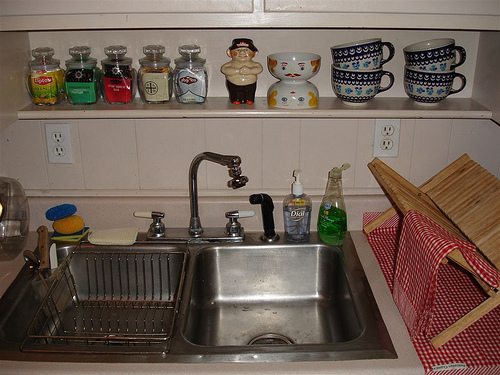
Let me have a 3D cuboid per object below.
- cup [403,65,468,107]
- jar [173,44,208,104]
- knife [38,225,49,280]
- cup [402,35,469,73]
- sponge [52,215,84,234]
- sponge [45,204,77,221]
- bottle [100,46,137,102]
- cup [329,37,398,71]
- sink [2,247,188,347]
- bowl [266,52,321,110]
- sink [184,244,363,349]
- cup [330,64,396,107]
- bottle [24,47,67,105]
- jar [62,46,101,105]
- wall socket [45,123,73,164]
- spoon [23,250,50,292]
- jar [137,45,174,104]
[{"bbox_3d":[0.648,-0.363,1.340,0.202,0.126,0.156,6,26,17],"label":"cup"},{"bbox_3d":[-0.210,-0.399,1.341,0.127,0.190,0.118,0,18,0],"label":"jar"},{"bbox_3d":[-0.686,0.209,1.263,0.036,0.196,0.023,-1,0,-34],"label":"knife"},{"bbox_3d":[0.638,-0.439,1.298,0.146,0.128,0.179,-33,29,-17],"label":"cup"},{"bbox_3d":[-0.660,0.134,1.365,0.079,0.039,0.078,-2,5,15],"label":"sponge"},{"bbox_3d":[-0.685,0.087,1.372,0.097,0.029,0.099,-17,26,-30],"label":"sponge"},{"bbox_3d":[-0.469,-0.402,1.345,0.127,0.192,0.104,0,24,-10],"label":"bottle"},{"bbox_3d":[0.389,-0.437,1.282,0.189,0.085,0.152,-4,17,7],"label":"cup"},{"bbox_3d":[-0.449,0.367,1.190,0.495,0.193,0.435,-3,22,3],"label":"sink"},{"bbox_3d":[0.153,-0.381,1.343,0.191,0.167,0.197,-2,27,1],"label":"bowl"},{"bbox_3d":[0.068,0.362,1.232,0.511,0.219,0.352,-2,22,5],"label":"sink"},{"bbox_3d":[0.393,-0.364,1.338,0.220,0.133,0.176,-1,26,3],"label":"cup"},{"bbox_3d":[-0.721,-0.393,1.339,0.135,0.178,0.135,5,25,-2],"label":"bottle"},{"bbox_3d":[-0.597,-0.392,1.354,0.127,0.188,0.127,-1,9,0],"label":"jar"},{"bbox_3d":[-0.684,-0.161,1.364,0.098,0.149,0.021,-4,23,1],"label":"wall socket"},{"bbox_3d":[-0.697,0.267,1.240,0.037,0.098,0.147,-22,28,-36],"label":"spoon"},{"bbox_3d":[-0.333,-0.400,1.335,0.132,0.194,0.107,-11,23,-15],"label":"jar"}]
